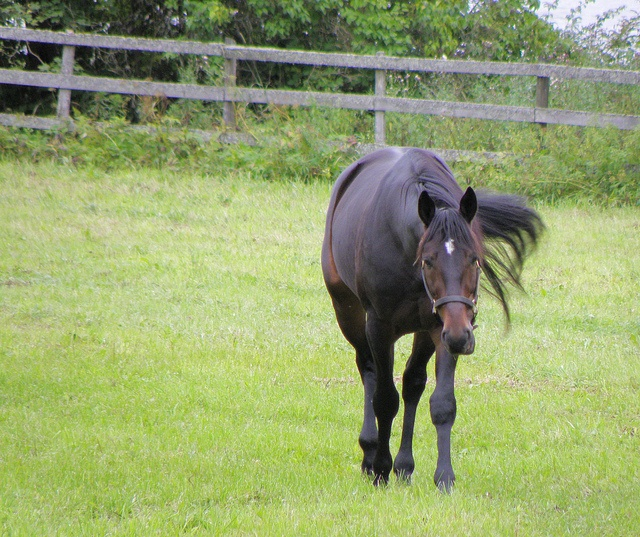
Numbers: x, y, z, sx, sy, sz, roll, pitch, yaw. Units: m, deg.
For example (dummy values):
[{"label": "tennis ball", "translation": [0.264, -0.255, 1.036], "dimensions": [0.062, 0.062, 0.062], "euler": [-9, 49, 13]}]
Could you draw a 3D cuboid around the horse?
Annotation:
[{"label": "horse", "translation": [0.754, 0.339, 9.833], "dimensions": [2.140, 2.911, 1.489], "euler": [12, 16, 37]}]
